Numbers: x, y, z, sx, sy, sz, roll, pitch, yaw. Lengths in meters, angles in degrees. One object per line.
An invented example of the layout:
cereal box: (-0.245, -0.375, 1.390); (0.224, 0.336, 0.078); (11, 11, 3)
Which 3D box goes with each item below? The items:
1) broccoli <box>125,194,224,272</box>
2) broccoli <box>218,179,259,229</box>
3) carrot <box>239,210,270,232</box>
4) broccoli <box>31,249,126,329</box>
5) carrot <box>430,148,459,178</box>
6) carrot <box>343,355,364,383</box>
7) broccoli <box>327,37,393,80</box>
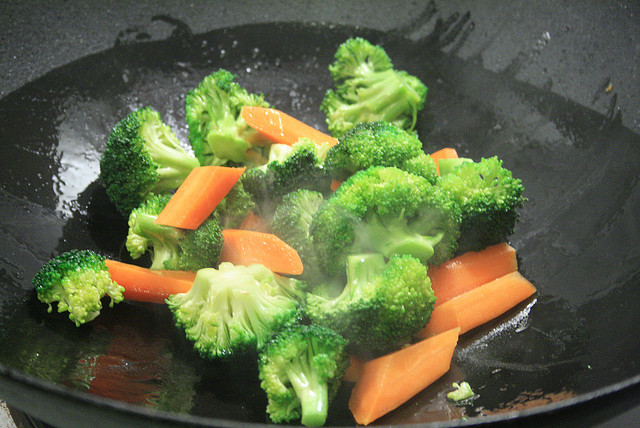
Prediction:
broccoli: (-0.935, 0.178, 3.993); (0.353, 0.476, 0.487); (-31, 79, -6)
broccoli: (-0.533, -0.045, 3.955); (0.254, 0.280, 0.068); (-23, 3, -13)
carrot: (-0.423, 0.065, 4.007); (0.144, 0.034, 0.144); (-42, 81, -9)
broccoli: (-1.437, 0.409, 3.735); (0.388, 0.409, 0.449); (-26, 4, 33)
carrot: (0.817, -0.326, 4.166); (0.170, 0.198, 0.181); (-6, 1, -12)
carrot: (0.194, 0.898, 3.559); (0.103, 0.151, 0.041); (12, -5, 10)
broccoli: (0.273, -1.107, 4.410); (0.295, 0.339, 0.135); (7, 5, 10)
